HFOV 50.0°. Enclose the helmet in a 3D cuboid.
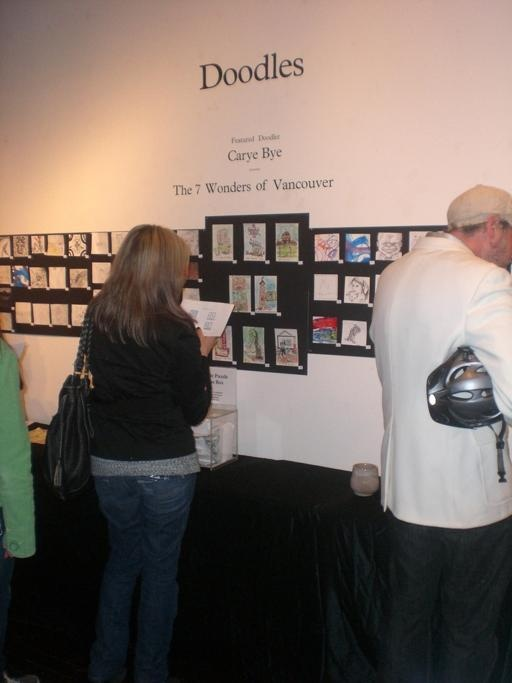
[{"bbox_3d":[0.389,0.097,1.061,0.147,0.123,0.134,-4,-34,24],"label":"helmet"}]
